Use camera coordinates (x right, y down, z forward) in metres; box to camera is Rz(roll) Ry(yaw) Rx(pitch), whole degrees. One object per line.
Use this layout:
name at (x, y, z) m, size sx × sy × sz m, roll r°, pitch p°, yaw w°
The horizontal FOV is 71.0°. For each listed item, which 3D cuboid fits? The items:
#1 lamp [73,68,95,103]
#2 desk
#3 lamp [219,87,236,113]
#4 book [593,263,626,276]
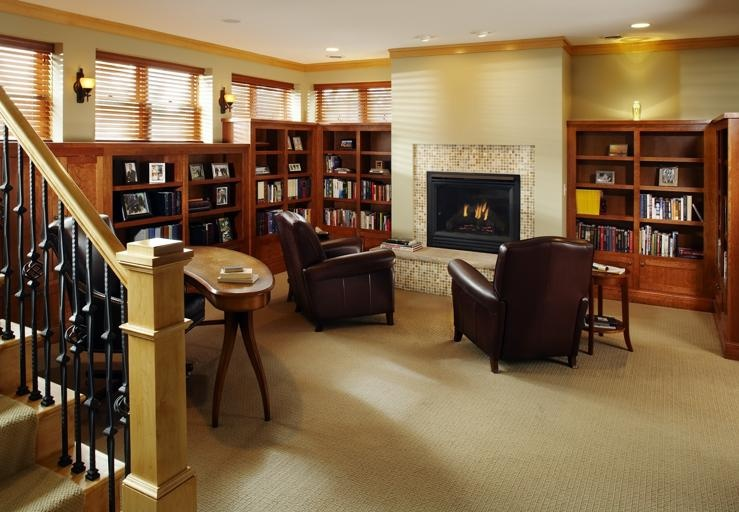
lamp at (-2.957, -1.801, 5.451) m, size 0.186 × 0.360 × 0.167 m, roll 1°, pitch 5°, yaw -9°
desk at (-1.102, 0.680, 4.040) m, size 0.418 × 0.593 × 1.222 m, roll -4°, pitch 12°, yaw -27°
lamp at (-1.912, -2.111, 6.991) m, size 0.194 × 0.345 × 0.183 m, roll -12°, pitch 14°, yaw -44°
book at (2.278, 0.117, 4.923) m, size 0.275 × 0.060 × 0.368 m, roll 4°, pitch 12°, yaw 26°
